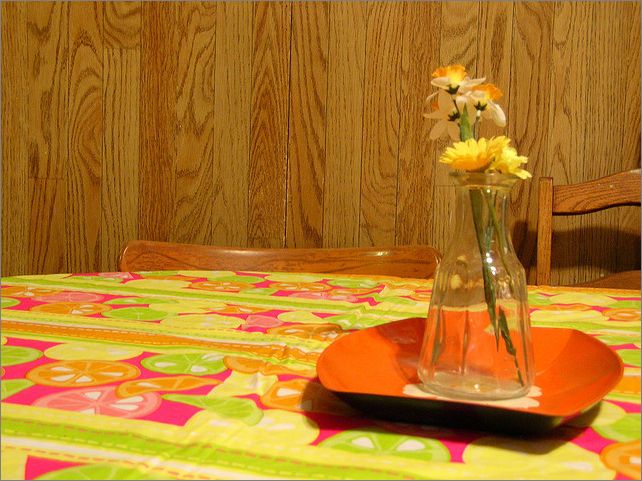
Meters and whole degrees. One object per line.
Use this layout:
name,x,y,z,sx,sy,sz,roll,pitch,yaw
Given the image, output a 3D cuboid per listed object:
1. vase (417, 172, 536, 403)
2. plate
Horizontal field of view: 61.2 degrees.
vase,0.173,0.057,0.569,0.113,0.255,0.117,-9,-29,38
plate,0.150,0.127,0.559,0.284,0.051,0.230,3,8,12
